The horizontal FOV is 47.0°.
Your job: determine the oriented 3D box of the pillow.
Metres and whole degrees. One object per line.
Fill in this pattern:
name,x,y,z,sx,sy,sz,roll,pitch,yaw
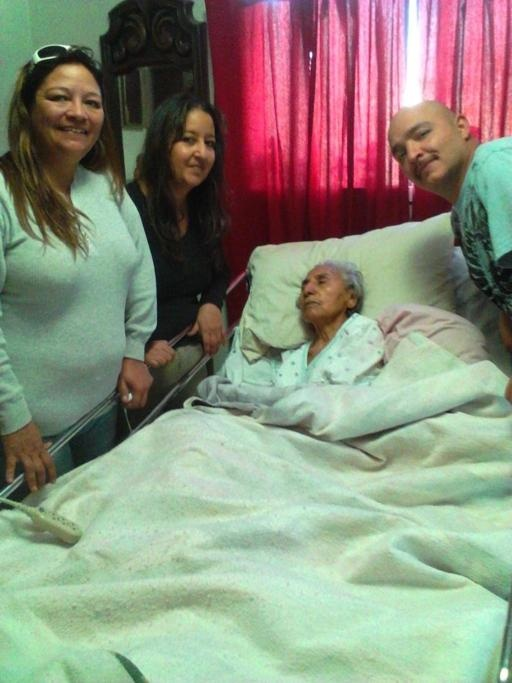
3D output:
pillow,0.435,-0.098,2.259,0.621,0.190,0.624,-17,42,21
